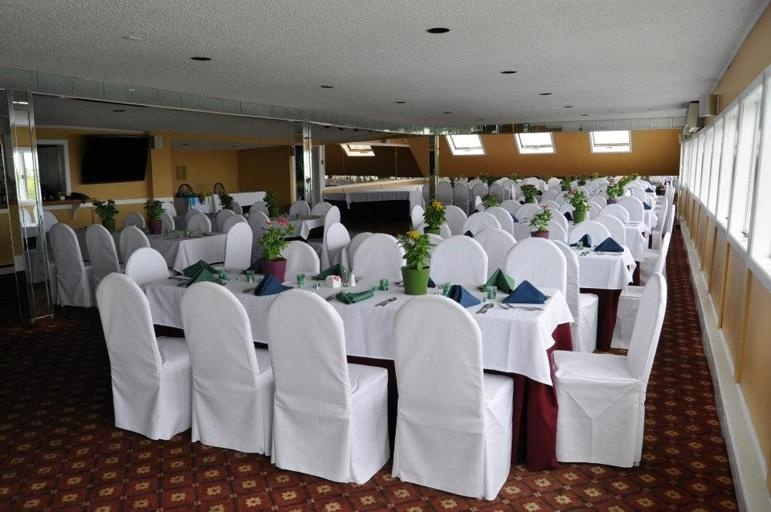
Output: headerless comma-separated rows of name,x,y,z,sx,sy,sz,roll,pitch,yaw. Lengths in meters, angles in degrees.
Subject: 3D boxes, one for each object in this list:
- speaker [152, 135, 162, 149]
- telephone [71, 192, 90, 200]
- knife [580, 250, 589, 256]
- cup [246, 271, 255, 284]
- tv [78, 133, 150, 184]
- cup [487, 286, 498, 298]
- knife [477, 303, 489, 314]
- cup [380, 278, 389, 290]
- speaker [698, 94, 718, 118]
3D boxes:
speaker,-6.150,-3.068,13.250,0.166,0.358,0.372,1,4,10
telephone,-7.220,-1.405,11.631,0.432,0.223,0.335,-1,5,0
knife,2.188,-0.028,5.409,0.055,0.042,0.412,0,8,17
cup,-1.193,0.196,4.426,0.076,0.101,0.097,8,20,13
tv,-7.003,-2.503,12.585,1.296,1.132,0.177,-8,19,-34
cup,0.847,0.287,3.854,0.082,0.111,0.085,0,1,0
knife,0.717,0.387,3.580,0.059,0.018,0.060,-15,9,18
cup,0.001,0.241,4.131,0.073,0.101,0.074,1,12,0
speaker,4.897,-2.282,7.449,0.138,0.348,0.616,2,8,20
